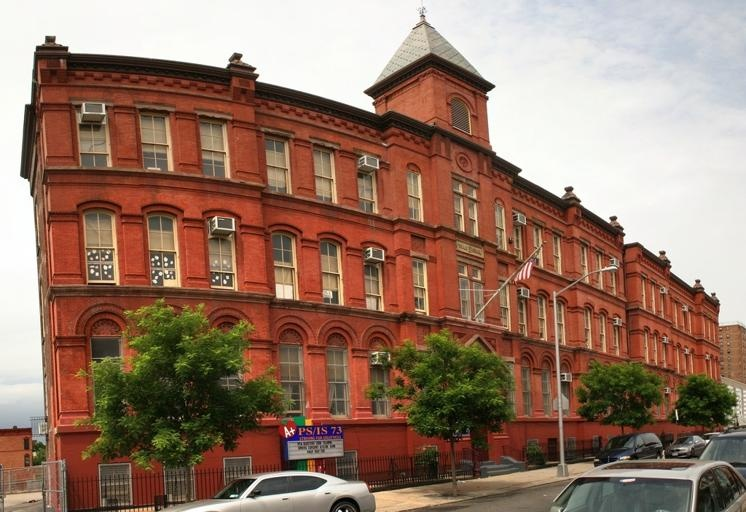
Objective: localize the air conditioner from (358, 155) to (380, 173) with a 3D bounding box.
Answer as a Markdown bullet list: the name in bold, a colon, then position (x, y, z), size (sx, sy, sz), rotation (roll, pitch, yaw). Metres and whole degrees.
- **air conditioner**: position (-0.283, -4.955, 53.248), size (1.026, 0.812, 0.837), rotation (10, -22, -42)

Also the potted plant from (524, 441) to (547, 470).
- **potted plant**: position (9.312, 11.346, 57.959), size (1.437, 1.726, 1.205), rotation (2, -4, -29)

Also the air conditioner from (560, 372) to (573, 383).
- **air conditioner**: position (12.197, 7.651, 64.096), size (0.616, 0.670, 1.160), rotation (-12, -18, 41)

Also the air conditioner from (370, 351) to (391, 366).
- **air conditioner**: position (0.445, 4.883, 48.874), size (0.784, 0.504, 1.221), rotation (0, -21, 3)

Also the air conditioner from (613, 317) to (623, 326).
- **air conditioner**: position (17.528, 4.657, 72.559), size (0.534, 0.515, 1.464), rotation (-5, -14, 18)

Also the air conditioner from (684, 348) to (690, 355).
- **air conditioner**: position (27.135, 8.197, 87.596), size (0.315, 0.552, 0.598), rotation (-13, -21, 42)

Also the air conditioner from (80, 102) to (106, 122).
- **air conditioner**: position (-12.856, -6.669, 46.590), size (1.078, 0.872, 0.905), rotation (-1, -17, -15)

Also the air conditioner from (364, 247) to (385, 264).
- **air conditioner**: position (0.093, -0.137, 52.883), size (0.738, 0.683, 1.307), rotation (-14, -18, 29)

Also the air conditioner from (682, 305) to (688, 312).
- **air conditioner**: position (27.478, 4.547, 89.256), size (0.461, 0.429, 0.329), rotation (17, -24, -36)

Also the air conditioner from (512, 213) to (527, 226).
- **air conditioner**: position (8.905, -2.150, 62.166), size (0.637, 0.666, 1.129), rotation (-16, -23, 38)

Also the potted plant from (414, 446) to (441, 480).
- **potted plant**: position (2.763, 10.364, 51.270), size (0.619, 1.729, 1.668), rotation (-19, -21, 39)
